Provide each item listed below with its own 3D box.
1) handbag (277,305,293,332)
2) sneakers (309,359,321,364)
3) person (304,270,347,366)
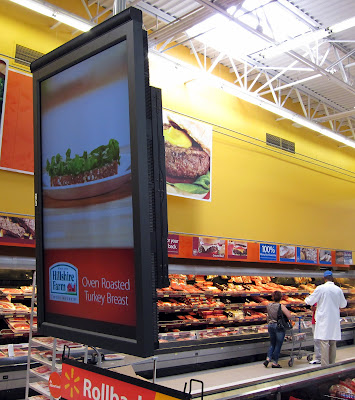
[{"bbox_3d":[2.043,2.239,6.663,0.359,0.467,0.118,3,-8,-30],"label":"handbag"},{"bbox_3d":[2.697,3.190,6.868,0.201,0.077,0.108,-3,-11,32],"label":"sneakers"},{"bbox_3d":[2.683,2.177,6.332,0.669,1.721,0.883,-4,-7,26],"label":"person"}]
